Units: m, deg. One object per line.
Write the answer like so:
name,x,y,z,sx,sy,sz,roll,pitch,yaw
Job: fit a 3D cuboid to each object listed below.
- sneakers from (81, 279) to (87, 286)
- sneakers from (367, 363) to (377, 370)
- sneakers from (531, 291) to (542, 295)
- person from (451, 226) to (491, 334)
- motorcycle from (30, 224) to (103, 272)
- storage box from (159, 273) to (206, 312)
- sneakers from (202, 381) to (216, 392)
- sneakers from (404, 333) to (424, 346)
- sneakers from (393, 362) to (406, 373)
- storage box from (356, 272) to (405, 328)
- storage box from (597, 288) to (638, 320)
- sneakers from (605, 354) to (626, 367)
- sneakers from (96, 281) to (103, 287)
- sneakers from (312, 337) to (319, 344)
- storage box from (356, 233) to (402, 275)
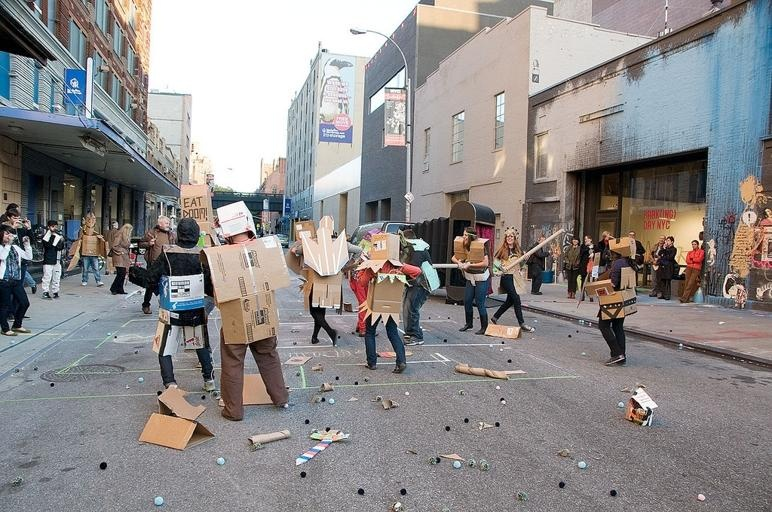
sneakers,-11.317,1.025,18.311,0.152,0.156,0.374,2,5,-6
sneakers,-0.256,1.964,8.556,0.083,0.075,0.172,2,4,-8
sneakers,5.774,1.442,18.649,0.409,0.168,0.147,-2,3,-8
person,2.022,0.588,11.501,0.872,2.497,0.995,1,7,0
motorcycle,-10.414,-0.263,16.205,1.336,1.809,3.122,4,-2,-28
storage box,-2.974,0.548,7.140,0.403,0.509,0.553,-6,-4,45
sneakers,-2.634,1.963,7.268,0.112,0.133,0.302,1,0,-10
sneakers,0.634,1.806,10.315,0.447,0.186,0.159,7,-6,-25
sneakers,0.236,1.950,8.360,0.114,0.116,0.259,2,-5,-13
storage box,-0.129,0.669,8.451,0.816,0.930,0.835,10,3,-31
storage box,4.158,0.910,9.054,0.647,0.496,0.936,-5,-2,1
sneakers,4.318,1.957,9.027,0.460,0.180,0.177,-10,-7,27
sneakers,-10.829,1.062,18.456,0.199,0.212,0.503,2,-4,-33
sneakers,-1.481,1.791,10.196,0.144,0.106,0.194,9,-9,-16
storage box,-0.022,-0.057,8.480,0.704,0.590,0.635,-2,-2,30
